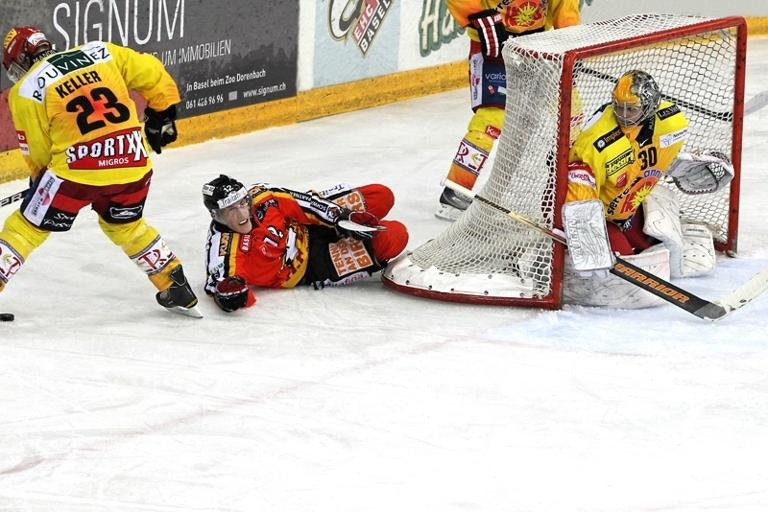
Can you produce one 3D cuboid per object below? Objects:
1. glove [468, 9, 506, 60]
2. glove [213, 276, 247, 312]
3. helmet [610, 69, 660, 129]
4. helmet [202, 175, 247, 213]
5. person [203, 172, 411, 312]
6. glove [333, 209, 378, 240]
[{"bbox_3d":[0.718,-1.509,5.254,0.260,0.298,0.096,-15,25,15],"label":"glove"},{"bbox_3d":[-0.820,0.179,4.130,0.181,0.163,0.186,-6,48,-25],"label":"glove"},{"bbox_3d":[1.307,-0.811,4.006,0.246,0.287,0.167,-2,16,4],"label":"helmet"},{"bbox_3d":[-0.867,-0.341,4.257,0.239,0.197,0.164,-4,15,-2],"label":"helmet"},{"bbox_3d":[-0.459,-0.065,4.521,1.205,0.622,0.738,-7,54,-6],"label":"person"},{"bbox_3d":[-0.159,-0.187,4.401,0.243,0.072,0.170,16,38,-6],"label":"glove"}]
